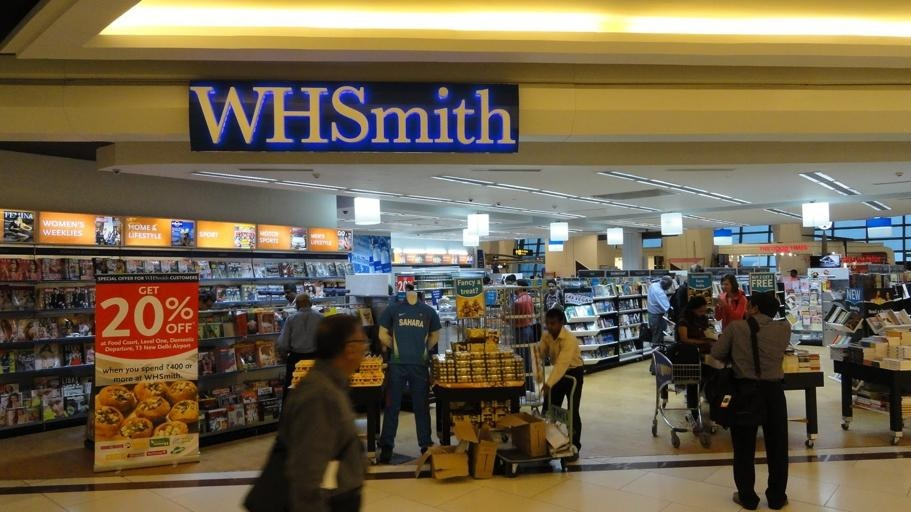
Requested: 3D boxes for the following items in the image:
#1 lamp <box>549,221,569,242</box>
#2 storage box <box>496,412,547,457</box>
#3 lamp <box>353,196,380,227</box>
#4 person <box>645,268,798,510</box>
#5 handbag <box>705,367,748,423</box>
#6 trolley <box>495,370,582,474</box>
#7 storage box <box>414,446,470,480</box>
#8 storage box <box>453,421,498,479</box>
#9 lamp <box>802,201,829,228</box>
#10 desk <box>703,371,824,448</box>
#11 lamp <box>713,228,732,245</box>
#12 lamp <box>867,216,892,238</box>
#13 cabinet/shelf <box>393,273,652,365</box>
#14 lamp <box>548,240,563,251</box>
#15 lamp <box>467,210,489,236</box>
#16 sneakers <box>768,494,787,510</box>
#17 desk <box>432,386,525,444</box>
[{"bbox_3d":[3.362,-0.762,21.001,0.794,0.646,0.732,2,-3,-32],"label":"lamp"},{"bbox_3d":[1.004,2.638,9.743,0.642,0.513,0.806,3,-6,-17],"label":"storage box"},{"bbox_3d":[-2.036,-1.019,14.707,0.535,0.645,0.674,-4,10,-11],"label":"lamp"},{"bbox_3d":[4.074,1.976,8.817,1.091,2.851,0.868,0,11,10],"label":"person"},{"bbox_3d":[3.731,1.912,8.803,0.573,0.834,0.673,7,-20,-3],"label":"handbag"},{"bbox_3d":[1.167,2.524,9.954,1.436,1.238,1.465,-2,4,38],"label":"trolley"},{"bbox_3d":[-0.185,3.039,9.451,0.660,0.244,0.587,0,-1,0],"label":"storage box"},{"bbox_3d":[0.333,2.869,9.581,0.900,0.523,0.800,2,3,0],"label":"storage box"},{"bbox_3d":[9.219,-1.007,16.467,0.827,0.670,0.768,2,-3,21],"label":"lamp"},{"bbox_3d":[5.437,2.517,10.599,1.606,1.185,1.359,-5,-21,37],"label":"desk"},{"bbox_3d":[10.898,-0.761,26.046,0.844,0.712,0.791,1,4,-9],"label":"lamp"},{"bbox_3d":[16.294,-1.137,24.750,1.085,0.646,0.533,-2,4,5],"label":"lamp"},{"bbox_3d":[1.345,1.265,12.385,4.419,1.197,1.307,-5,21,-30],"label":"cabinet/shelf"},{"bbox_3d":[4.068,-0.353,25.855,0.794,0.396,0.680,-1,-2,6],"label":"lamp"},{"bbox_3d":[0.628,-0.854,17.680,0.696,0.594,0.624,-2,3,-1],"label":"lamp"},{"bbox_3d":[4.352,3.344,8.751,0.277,0.159,0.153,-15,13,-42],"label":"sneakers"},{"bbox_3d":[0.344,2.495,10.262,1.496,0.744,1.366,2,-10,4],"label":"desk"}]
